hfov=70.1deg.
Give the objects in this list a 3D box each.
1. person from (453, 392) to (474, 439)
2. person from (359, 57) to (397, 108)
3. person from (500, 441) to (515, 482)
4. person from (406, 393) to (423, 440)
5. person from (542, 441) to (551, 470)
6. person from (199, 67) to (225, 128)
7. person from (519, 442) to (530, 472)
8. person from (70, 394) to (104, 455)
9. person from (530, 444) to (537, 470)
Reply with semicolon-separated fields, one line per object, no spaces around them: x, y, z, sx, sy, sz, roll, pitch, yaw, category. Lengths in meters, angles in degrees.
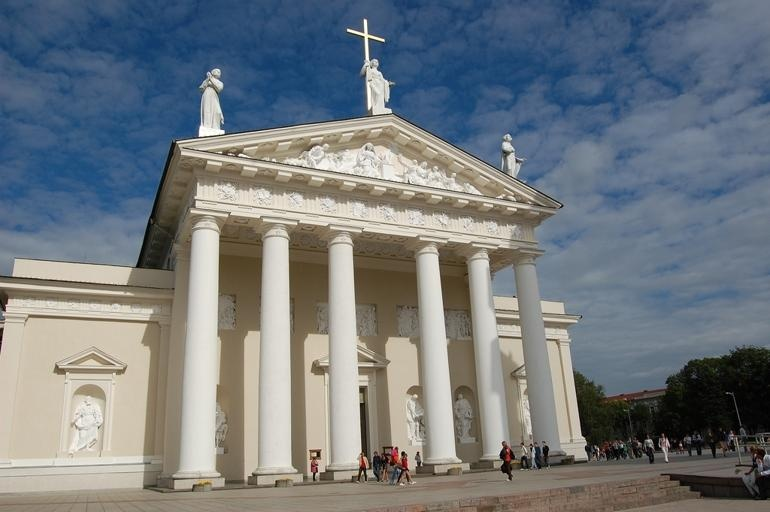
3.919;8.049;27.327;1.102;2.336;0.308;3;-22;-18;person
-0.376;-7.780;25.907;1.318;3.081;0.854;-2;-21;-4;person
4.338;7.267;19.588;0.432;1.290;1.975;-7;-21;9;person
1.449;7.857;26.467;0.824;2.322;0.383;7;-23;-26;person
7.220;8.866;24.705;0.364;1.061;0.524;-12;-23;21;person
-7.256;-6.548;22.978;0.900;2.682;0.876;5;-23;-22;person
6.228;8.938;24.597;0.413;1.030;1.325;-8;-22;12;person
-11.796;6.658;21.734;1.147;2.210;0.400;7;-23;-25;person
6.534;8.795;24.230;0.280;1.033;0.992;-9;-22;12;person
